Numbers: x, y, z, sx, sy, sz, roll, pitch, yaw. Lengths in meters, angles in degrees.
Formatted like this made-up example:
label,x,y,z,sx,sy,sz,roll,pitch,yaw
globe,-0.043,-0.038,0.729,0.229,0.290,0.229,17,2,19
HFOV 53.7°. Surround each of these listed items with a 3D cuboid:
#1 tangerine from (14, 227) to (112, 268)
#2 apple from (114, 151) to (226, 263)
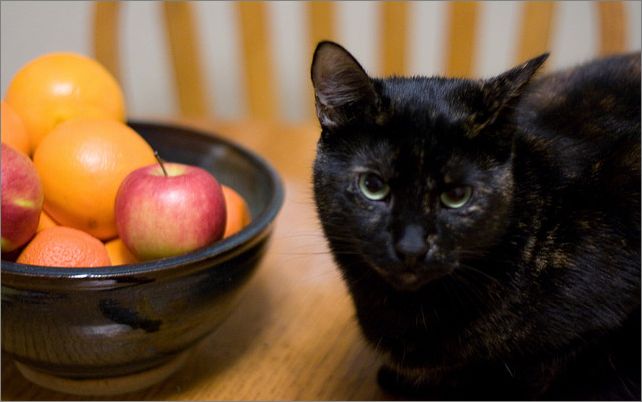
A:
label,x,y,z,sx,sy,sz,roll,pitch,yaw
tangerine,-0.507,0.107,1.218,0.108,0.062,0.113,14,-13,12
apple,-0.306,0.014,1.331,0.189,0.184,0.192,-2,5,-1
